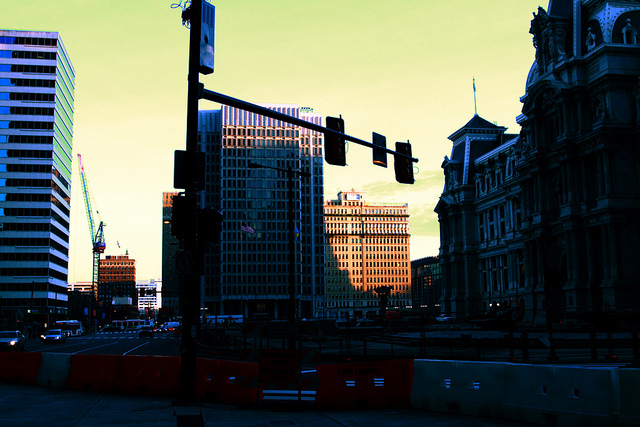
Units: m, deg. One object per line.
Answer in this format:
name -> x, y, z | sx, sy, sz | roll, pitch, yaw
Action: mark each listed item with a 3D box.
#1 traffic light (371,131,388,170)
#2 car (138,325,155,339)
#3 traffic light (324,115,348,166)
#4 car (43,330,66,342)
traffic light -> 3.738, -3.983, 52.096 | 1.071, 1.995, 0.763 | 5, -13, -23
car -> -22.691, 15.516, 109.361 | 1.804, 1.666, 2.577 | 3, -12, -15
traffic light -> 0.900, -4.376, 50.220 | 1.180, 2.927, 1.033 | 0, -12, 1
car -> -30.517, 14.139, 95.808 | 1.558, 0.935, 2.511 | 2, 7, -7
